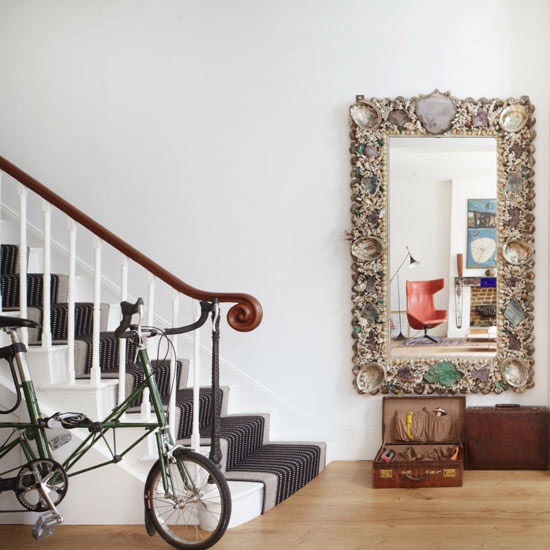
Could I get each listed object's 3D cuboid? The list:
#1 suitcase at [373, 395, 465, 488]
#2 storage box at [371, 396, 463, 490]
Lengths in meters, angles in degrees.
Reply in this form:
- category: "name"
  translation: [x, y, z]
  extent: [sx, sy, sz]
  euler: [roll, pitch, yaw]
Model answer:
- category: "suitcase"
  translation: [0.883, 0.994, 4.622]
  extent: [0.508, 0.482, 0.513]
  euler: [-1, -7, 8]
- category: "storage box"
  translation: [0.877, 1.004, 4.618]
  extent: [0.504, 0.479, 0.510]
  euler: [-1, -7, 8]
